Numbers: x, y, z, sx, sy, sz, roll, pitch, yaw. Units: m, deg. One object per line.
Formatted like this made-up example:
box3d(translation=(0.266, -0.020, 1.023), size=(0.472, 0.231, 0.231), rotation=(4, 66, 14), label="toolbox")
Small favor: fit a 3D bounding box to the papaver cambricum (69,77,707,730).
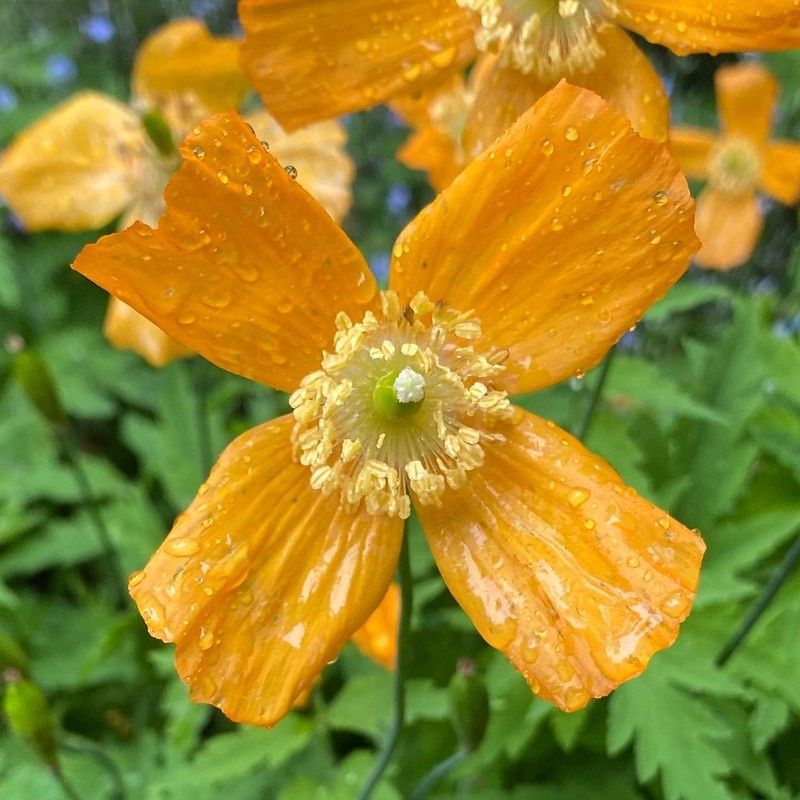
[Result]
box3d(translation=(0.056, -0.033, 0.866), size=(0.555, 0.192, 0.523), rotation=(43, 108, 2), label="papaver cambricum")
